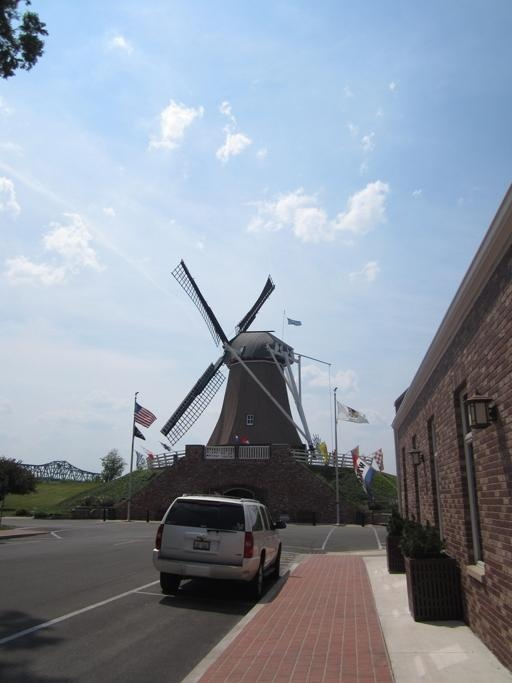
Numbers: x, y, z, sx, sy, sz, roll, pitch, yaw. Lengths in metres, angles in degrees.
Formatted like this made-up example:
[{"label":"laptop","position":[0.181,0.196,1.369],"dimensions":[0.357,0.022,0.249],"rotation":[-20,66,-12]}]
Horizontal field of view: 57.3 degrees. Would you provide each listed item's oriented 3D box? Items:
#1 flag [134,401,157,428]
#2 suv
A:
[{"label":"flag","position":[-8.783,5.615,35.951],"dimensions":[1.592,1.749,1.468],"rotation":[1,-17,6]},{"label":"suv","position":[-0.489,3.933,9.218],"dimensions":[1.638,1.281,2.876],"rotation":[-2,-16,13]}]
